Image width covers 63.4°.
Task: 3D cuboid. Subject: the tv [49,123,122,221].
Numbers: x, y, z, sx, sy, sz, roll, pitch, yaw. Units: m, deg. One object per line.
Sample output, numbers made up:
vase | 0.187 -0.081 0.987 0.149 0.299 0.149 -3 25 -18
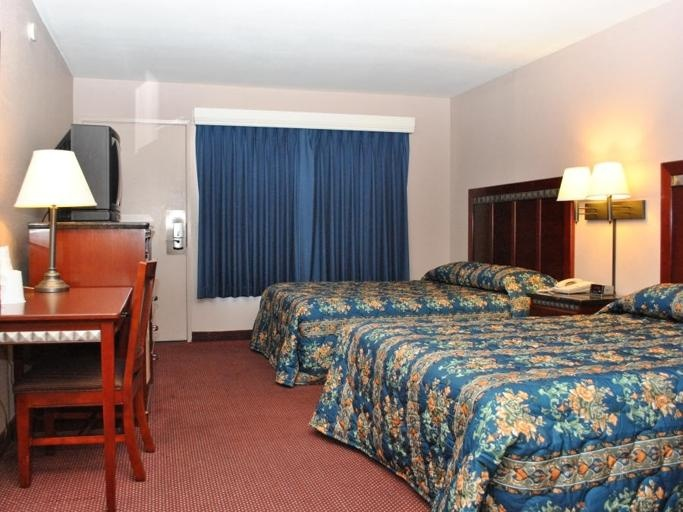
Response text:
tv | -1.896 -0.646 4.247 0.386 0.656 0.715 0 10 -26

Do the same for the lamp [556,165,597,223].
lamp | 1.961 -0.513 4.616 0.376 0.441 0.381 -3 5 -36

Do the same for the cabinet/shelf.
cabinet/shelf | -1.700 0.218 3.643 0.761 1.449 0.795 0 3 -10

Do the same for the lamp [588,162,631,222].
lamp | 2.073 -0.488 4.285 0.281 0.481 0.283 3 -4 -37

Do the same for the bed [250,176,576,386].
bed | 0.649 0.246 5.219 2.366 1.612 1.807 -2 3 -14
